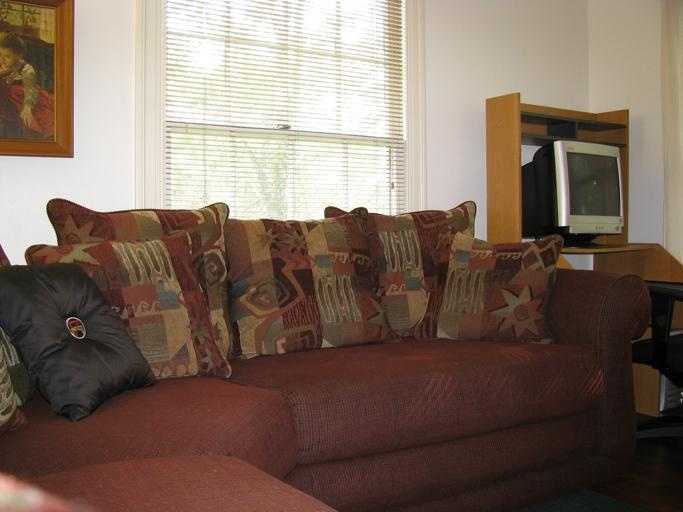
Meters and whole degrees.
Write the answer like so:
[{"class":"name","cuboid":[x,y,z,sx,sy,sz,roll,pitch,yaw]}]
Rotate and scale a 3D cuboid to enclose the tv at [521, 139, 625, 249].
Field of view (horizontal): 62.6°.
[{"class":"tv","cuboid":[1.550,-0.395,3.793,0.702,0.646,0.405,-1,-2,-30]}]
